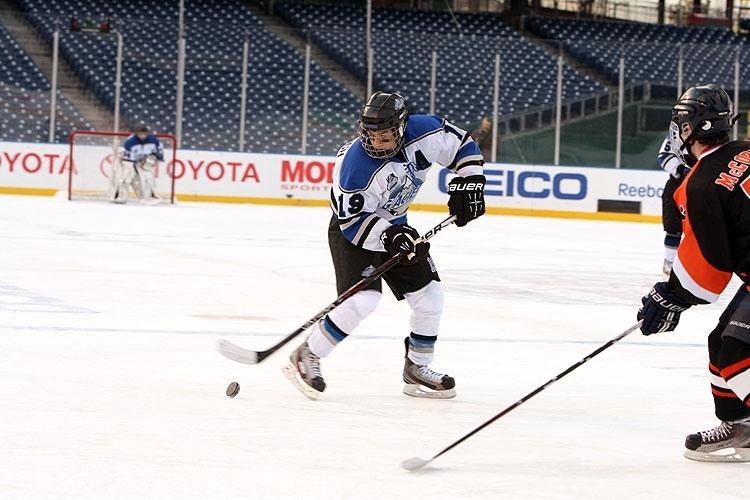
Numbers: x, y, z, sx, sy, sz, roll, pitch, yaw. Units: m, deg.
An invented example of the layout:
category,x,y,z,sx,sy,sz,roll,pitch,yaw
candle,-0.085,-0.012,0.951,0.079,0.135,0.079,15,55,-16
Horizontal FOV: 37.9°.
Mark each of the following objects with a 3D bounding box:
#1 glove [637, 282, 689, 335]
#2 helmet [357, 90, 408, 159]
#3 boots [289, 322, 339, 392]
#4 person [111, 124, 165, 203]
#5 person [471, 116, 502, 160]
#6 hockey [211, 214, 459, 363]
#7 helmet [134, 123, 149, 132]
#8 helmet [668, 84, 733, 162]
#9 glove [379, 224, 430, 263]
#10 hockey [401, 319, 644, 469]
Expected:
category,x,y,z,sx,sy,sz,roll,pitch,yaw
glove,1.716,0.357,6.567,0.282,0.156,0.352,24,5,13
helmet,0.057,-0.810,7.120,0.314,0.421,0.211,0,9,0
boots,-0.428,0.764,7.102,0.240,0.357,0.192,7,12,39
person,-3.413,-1.240,15.723,0.706,1.087,0.359,-2,10,-14
person,1.692,-1.709,16.817,0.281,0.654,0.471,0,-7,-16
hockey,-0.316,0.326,8.286,1.884,0.154,0.252,-31,27,8
helmet,-3.342,-1.740,15.576,0.158,0.083,0.183,-2,-1,-34
helmet,1.969,-0.776,6.643,0.439,0.384,0.382,-3,5,29
glove,0.187,-0.035,7.066,0.309,0.255,0.162,0,9,1
hockey,0.944,0.968,7.102,1.631,0.057,0.182,-28,-24,-11
